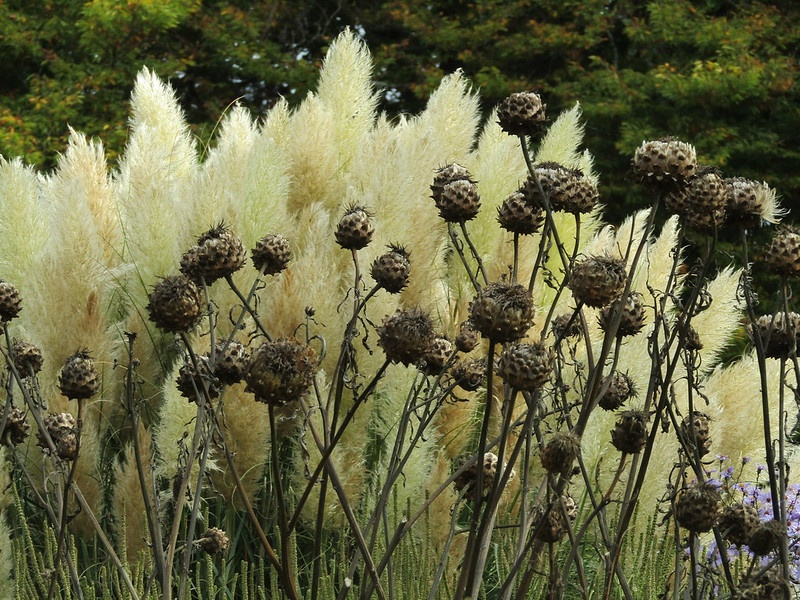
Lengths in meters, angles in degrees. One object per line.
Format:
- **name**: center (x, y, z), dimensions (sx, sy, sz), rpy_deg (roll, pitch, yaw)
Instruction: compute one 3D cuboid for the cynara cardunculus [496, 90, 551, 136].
- **cynara cardunculus**: center (0.624, -0.935, 8.902), dimensions (0.235, 0.252, 0.277), rpy_deg (1, -2, 32)
